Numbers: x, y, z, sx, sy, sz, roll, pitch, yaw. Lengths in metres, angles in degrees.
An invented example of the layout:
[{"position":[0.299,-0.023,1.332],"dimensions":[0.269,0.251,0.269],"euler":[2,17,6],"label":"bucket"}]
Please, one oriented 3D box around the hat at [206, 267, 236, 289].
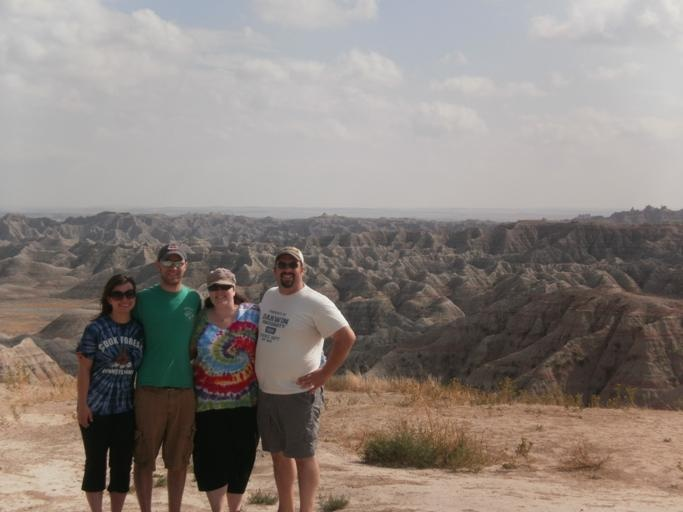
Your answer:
[{"position":[-1.462,0.252,8.357],"dimensions":[0.341,0.267,0.496],"euler":[3,-6,-9],"label":"hat"}]
